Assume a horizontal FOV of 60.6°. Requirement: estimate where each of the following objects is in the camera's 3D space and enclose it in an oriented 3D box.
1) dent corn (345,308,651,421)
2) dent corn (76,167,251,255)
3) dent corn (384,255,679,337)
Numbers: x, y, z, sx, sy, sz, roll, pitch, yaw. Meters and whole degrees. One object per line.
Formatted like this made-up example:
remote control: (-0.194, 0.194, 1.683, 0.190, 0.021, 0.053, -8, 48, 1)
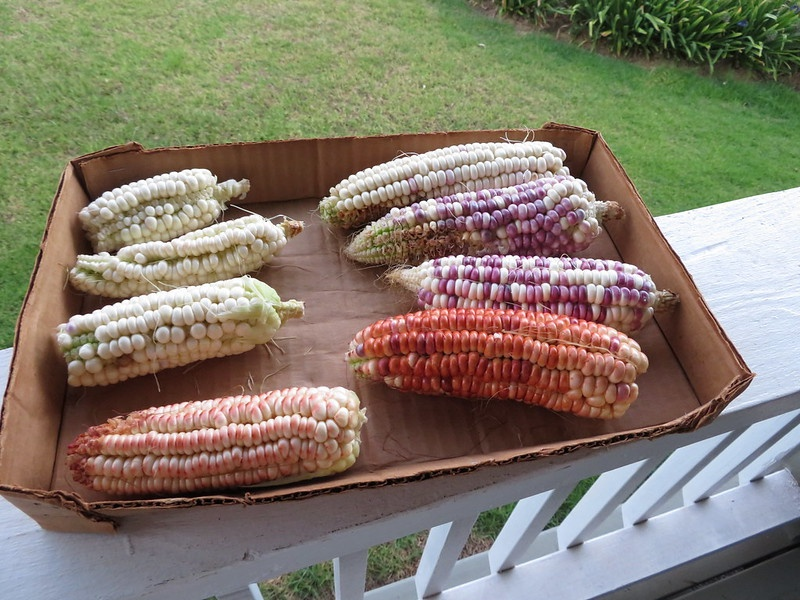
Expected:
dent corn: (0.236, 0.141, 1.682, 0.861, 0.243, 0.249, 3, 5, 6)
dent corn: (-0.609, -0.259, 1.853, 0.449, 0.166, 0.150, -19, 61, -17)
dent corn: (0.354, -0.027, 1.785, 0.837, 0.222, 0.218, 3, 10, 4)
